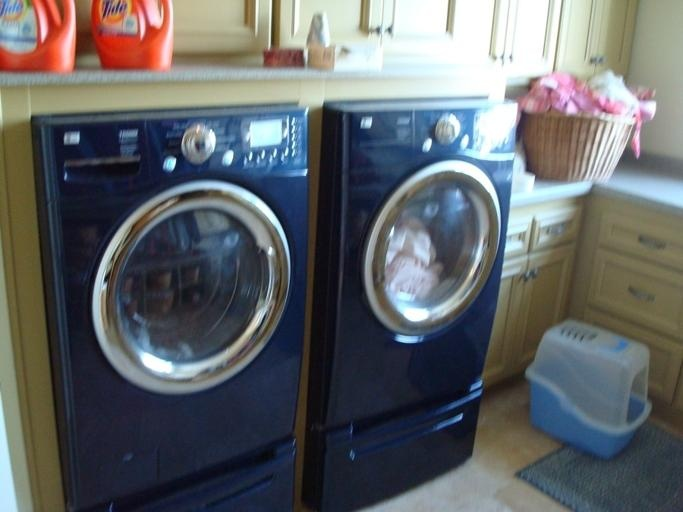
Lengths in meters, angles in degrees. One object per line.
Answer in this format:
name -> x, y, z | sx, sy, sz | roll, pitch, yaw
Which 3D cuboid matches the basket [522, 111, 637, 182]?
basket -> 1.163, -0.588, 2.832 | 0.553, 0.391, 0.595 | 7, 22, 12
